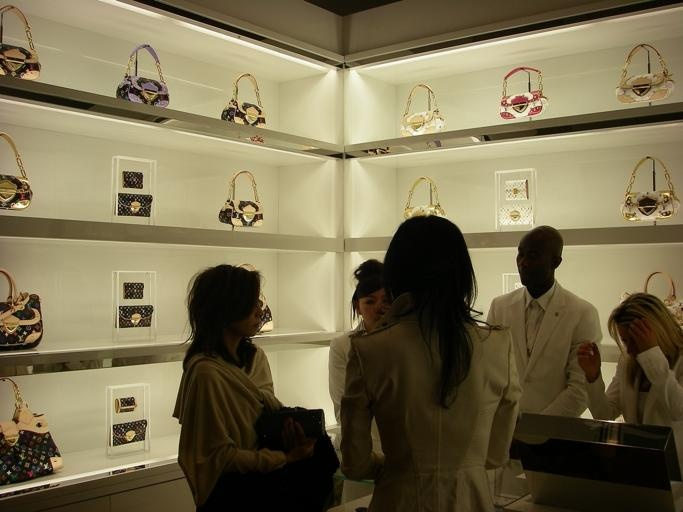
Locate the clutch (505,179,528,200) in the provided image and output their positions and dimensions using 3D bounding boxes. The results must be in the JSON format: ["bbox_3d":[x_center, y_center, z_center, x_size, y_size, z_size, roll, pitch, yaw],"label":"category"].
[{"bbox_3d":[1.127,-0.406,3.249,0.146,0.139,0.130,-1,-4,33],"label":"clutch"}]

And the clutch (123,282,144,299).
[{"bbox_3d":[-1.205,0.208,2.911,0.116,0.089,0.035,-2,0,-39],"label":"clutch"}]

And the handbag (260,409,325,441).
[{"bbox_3d":[-0.186,0.607,1.847,0.206,0.095,0.124,-1,-6,10],"label":"handbag"}]

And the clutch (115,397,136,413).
[{"bbox_3d":[-1.218,0.841,2.817,0.108,0.079,0.030,-3,0,-30],"label":"clutch"}]

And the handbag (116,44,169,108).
[{"bbox_3d":[-1.158,-1.076,2.899,0.260,0.365,0.535,-2,0,-23],"label":"handbag"}]

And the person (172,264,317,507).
[{"bbox_3d":[-0.392,0.482,1.927,0.474,0.839,0.382,-2,0,-21],"label":"person"}]

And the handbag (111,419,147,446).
[{"bbox_3d":[-1.191,1.006,2.818,0.196,0.128,0.028,-2,0,-39],"label":"handbag"}]

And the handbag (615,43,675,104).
[{"bbox_3d":[1.769,-1.092,2.933,0.284,0.400,0.476,-3,0,33],"label":"handbag"}]

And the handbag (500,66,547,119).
[{"bbox_3d":[1.193,-1.109,3.323,0.286,0.394,0.509,-3,0,21],"label":"handbag"}]

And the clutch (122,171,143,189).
[{"bbox_3d":[-1.190,-0.424,2.868,0.097,0.091,0.104,0,-1,37],"label":"clutch"}]

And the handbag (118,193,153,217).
[{"bbox_3d":[-1.171,-0.287,2.822,0.137,0.100,0.036,2,-5,-38],"label":"handbag"}]
